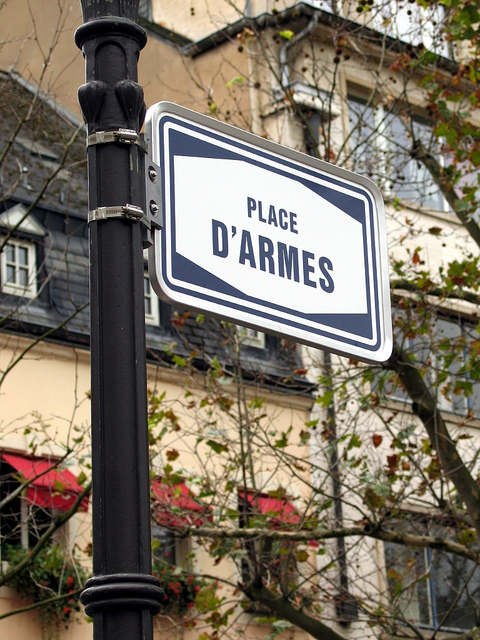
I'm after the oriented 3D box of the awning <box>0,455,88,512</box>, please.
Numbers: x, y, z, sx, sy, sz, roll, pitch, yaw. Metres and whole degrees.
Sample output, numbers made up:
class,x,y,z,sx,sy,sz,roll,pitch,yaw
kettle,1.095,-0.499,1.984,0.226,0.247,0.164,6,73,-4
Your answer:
class,x,y,z,sx,sy,sz,roll,pitch,yaw
awning,-2.211,1.592,21.973,0.764,0.409,0.787,20,-13,10

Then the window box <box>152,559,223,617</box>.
class,x,y,z,sx,sy,sz,roll,pitch,yaw
window box,-0.711,3.062,22.645,0.458,0.597,1.043,-4,-25,2

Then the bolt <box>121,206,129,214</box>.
class,x,y,z,sx,sy,sz,roll,pitch,yaw
bolt,-0.707,-0.673,12.114,0.026,0.068,0.066,-7,9,-20

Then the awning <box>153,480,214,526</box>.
class,x,y,z,sx,sy,sz,roll,pitch,yaw
awning,-0.551,2.025,21.437,0.535,0.206,0.747,-5,-44,42

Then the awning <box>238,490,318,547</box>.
class,x,y,z,sx,sy,sz,roll,pitch,yaw
awning,0.238,2.179,22.517,0.490,0.495,0.812,-6,-16,42

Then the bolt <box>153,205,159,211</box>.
class,x,y,z,sx,sy,sz,roll,pitch,yaw
bolt,-0.524,-0.690,12.185,0.039,0.037,0.010,0,1,-18
